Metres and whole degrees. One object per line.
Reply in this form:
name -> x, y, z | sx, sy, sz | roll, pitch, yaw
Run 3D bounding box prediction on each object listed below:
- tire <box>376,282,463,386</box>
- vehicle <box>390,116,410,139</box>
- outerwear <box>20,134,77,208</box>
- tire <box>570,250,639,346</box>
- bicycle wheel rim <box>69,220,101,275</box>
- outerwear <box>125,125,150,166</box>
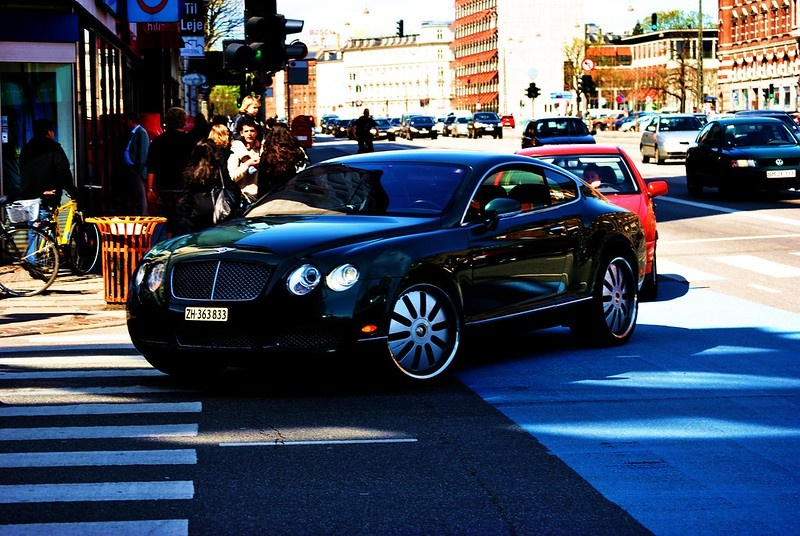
tire -> 0.120, 0.515, 6.984 | 0.899, 0.918, 0.169 | 1, 1, -34
vehicle -> -0.132, -14.444, 88.689 | 1.881, 1.537, 4.291 | -1, 0, 0
outerwear -> -5.549, -1.501, 13.414 | 0.783, 0.905, 0.484 | 0, -5, 10
tire -> 2.007, 0.283, 8.591 | 1.004, 0.961, 0.394 | -1, 1, -44
bicycle wheel rim -> -4.925, -0.346, 13.376 | 0.106, 0.727, 0.748 | 0, -10, 28
outerwear -> -5.541, -2.511, 18.222 | 0.585, 0.897, 1.023 | -7, 11, -25
